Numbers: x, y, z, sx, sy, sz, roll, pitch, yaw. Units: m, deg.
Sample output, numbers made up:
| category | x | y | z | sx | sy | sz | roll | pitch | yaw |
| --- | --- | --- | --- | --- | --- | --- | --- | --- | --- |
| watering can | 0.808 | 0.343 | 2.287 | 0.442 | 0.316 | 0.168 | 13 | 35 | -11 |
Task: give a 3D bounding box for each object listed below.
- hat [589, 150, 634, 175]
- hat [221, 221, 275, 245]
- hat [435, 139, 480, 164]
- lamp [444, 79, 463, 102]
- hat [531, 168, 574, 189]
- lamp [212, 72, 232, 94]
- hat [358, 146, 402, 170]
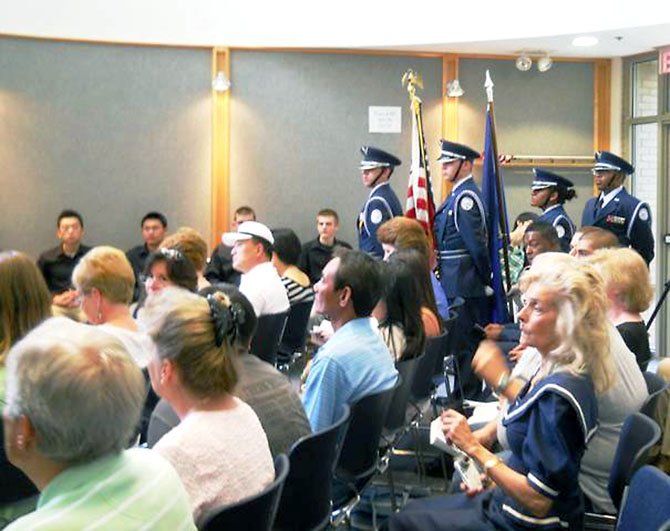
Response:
| category | x | y | z | sx | sy | sz | roll | pitch | yaw |
| --- | --- | --- | --- | --- | --- | --- | --- | --- | --- |
| hat | 2.340 | -0.853 | 5.571 | 0.259 | 0.124 | 0.262 | 12 | 4 | 1 |
| hat | -0.548 | -0.203 | 4.106 | 0.241 | 0.112 | 0.173 | 1 | -7 | -10 |
| hat | 0.988 | -0.903 | 5.228 | 0.242 | 0.144 | 0.238 | -10 | 7 | -14 |
| lamp | 1.205 | -1.734 | 6.517 | 0.197 | 0.250 | 0.221 | -4 | 9 | -16 |
| hat | 1.935 | -0.759 | 5.890 | 0.278 | 0.147 | 0.281 | 0 | 4 | 6 |
| lamp | -1.134 | -1.809 | 6.596 | 0.193 | 0.221 | 0.155 | 0 | 1 | -6 |
| hat | 0.404 | -0.917 | 5.724 | 0.272 | 0.141 | 0.246 | 6 | -3 | -30 |
